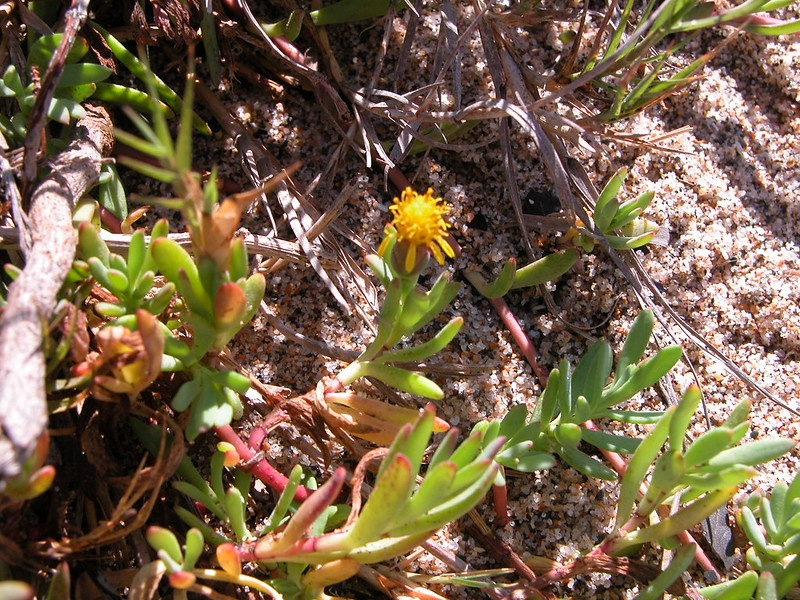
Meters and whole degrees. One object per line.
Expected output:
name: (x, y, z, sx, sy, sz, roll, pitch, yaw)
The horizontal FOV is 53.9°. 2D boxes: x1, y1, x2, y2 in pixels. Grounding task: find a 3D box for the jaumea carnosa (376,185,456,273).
jaumea carnosa: (0.030, -0.120, 1.484, 0.137, 0.144, 0.149, 9, 81, 17)
